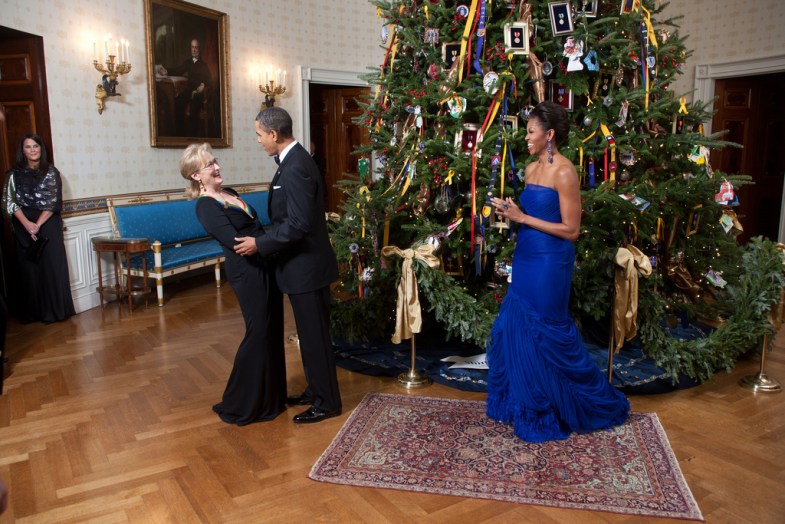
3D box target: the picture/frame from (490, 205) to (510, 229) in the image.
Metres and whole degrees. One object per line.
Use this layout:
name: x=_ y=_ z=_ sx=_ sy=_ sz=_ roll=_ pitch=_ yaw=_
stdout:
picture/frame: x=0.927 y=-0.407 z=4.827 sx=0.188 sy=0.259 sz=0.034 roll=-3 pitch=-5 yaw=8

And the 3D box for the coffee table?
coffee table: x=-3.594 y=0.150 z=7.364 sx=0.796 sy=0.936 sz=0.472 roll=4 pitch=12 yaw=10

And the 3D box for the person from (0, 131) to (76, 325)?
person: x=-4.291 y=-0.407 z=6.706 sx=0.624 sy=2.224 sz=0.450 roll=-4 pitch=13 yaw=-22

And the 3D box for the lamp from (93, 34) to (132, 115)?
lamp: x=-3.757 y=-2.547 z=7.524 sx=0.531 sy=1.047 sz=0.338 roll=-11 pitch=17 yaw=-43

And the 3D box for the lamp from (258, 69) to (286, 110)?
lamp: x=-2.074 y=-2.957 z=9.646 sx=0.393 sy=0.781 sz=0.328 roll=-2 pitch=-2 yaw=3

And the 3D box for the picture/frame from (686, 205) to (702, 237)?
picture/frame: x=2.920 y=-0.426 z=5.434 sx=0.215 sy=0.396 sz=0.039 roll=-8 pitch=10 yaw=-26

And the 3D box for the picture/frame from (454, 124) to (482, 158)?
picture/frame: x=0.703 y=-1.154 z=5.242 sx=0.247 sy=0.295 sz=0.094 roll=4 pitch=10 yaw=14

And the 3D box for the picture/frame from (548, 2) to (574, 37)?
picture/frame: x=1.501 y=-2.199 z=5.002 sx=0.220 sy=0.283 sz=0.108 roll=4 pitch=13 yaw=14

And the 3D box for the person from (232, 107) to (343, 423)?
person: x=-0.779 y=0.053 z=4.501 sx=0.713 sy=2.544 sz=0.446 roll=-1 pitch=12 yaw=-6

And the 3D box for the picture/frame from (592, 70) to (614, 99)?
picture/frame: x=1.952 y=-1.653 z=5.224 sx=0.174 sy=0.257 sz=0.067 roll=11 pitch=2 yaw=8

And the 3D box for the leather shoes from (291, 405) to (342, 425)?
leather shoes: x=-0.647 y=1.272 z=4.707 sx=0.371 sy=0.159 sz=0.137 roll=7 pitch=0 yaw=-19

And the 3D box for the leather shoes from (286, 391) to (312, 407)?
leather shoes: x=-0.829 y=1.187 z=4.912 sx=0.311 sy=0.136 sz=0.112 roll=6 pitch=4 yaw=-11

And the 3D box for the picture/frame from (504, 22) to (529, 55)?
picture/frame: x=1.124 y=-2.044 z=5.044 sx=0.288 sy=0.381 sz=0.041 roll=0 pitch=10 yaw=6

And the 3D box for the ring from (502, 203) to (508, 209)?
ring: x=0.854 y=-0.434 z=4.257 sx=0.044 sy=0.050 sz=0.029 roll=1 pitch=-10 yaw=-8
